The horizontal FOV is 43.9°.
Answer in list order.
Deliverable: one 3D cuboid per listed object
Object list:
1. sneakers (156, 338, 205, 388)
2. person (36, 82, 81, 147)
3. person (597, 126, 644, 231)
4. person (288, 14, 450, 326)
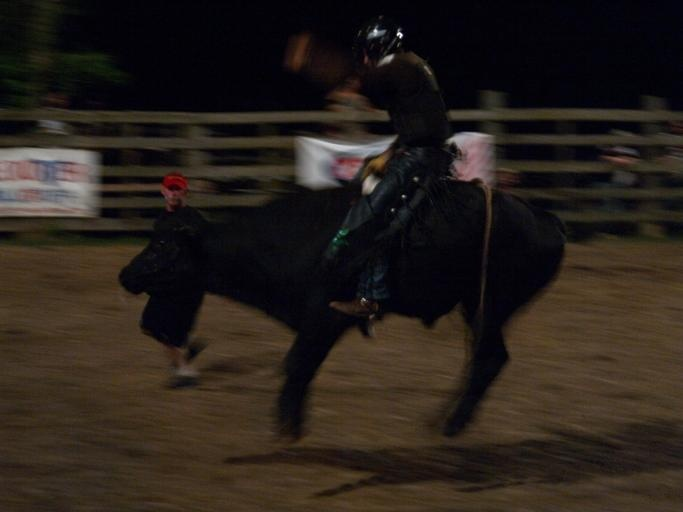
[{"bbox_3d":[-1.143,0.807,6.254,0.318,0.442,0.152,-23,-41,10],"label":"sneakers"},{"bbox_3d":[-3.402,-1.666,10.133,0.415,0.655,1.157,3,9,-19],"label":"person"},{"bbox_3d":[3.283,-1.006,10.026,0.499,0.922,0.738,9,10,11],"label":"person"},{"bbox_3d":[0.193,-0.731,5.326,1.008,1.545,0.579,8,11,8],"label":"person"}]
